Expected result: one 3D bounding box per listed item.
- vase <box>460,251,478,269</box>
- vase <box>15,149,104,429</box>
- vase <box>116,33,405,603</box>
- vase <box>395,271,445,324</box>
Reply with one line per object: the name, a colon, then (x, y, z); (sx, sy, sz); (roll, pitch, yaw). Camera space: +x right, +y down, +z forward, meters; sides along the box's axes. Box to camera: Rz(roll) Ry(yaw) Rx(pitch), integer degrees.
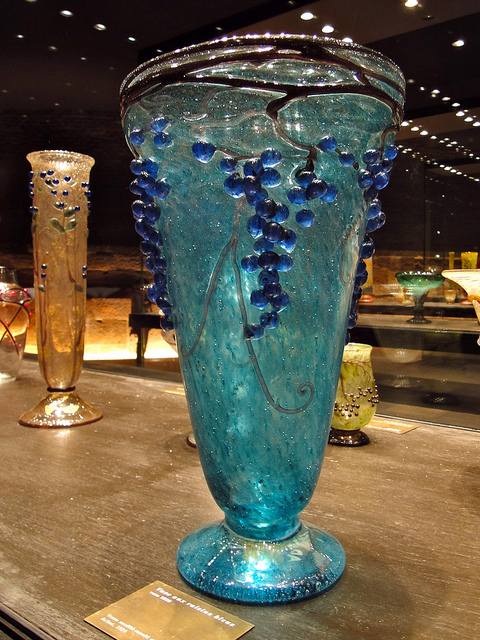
vase: (0.630, -0.167, 1.407); (0.045, 0.047, 0.029); (0, 2, 25)
vase: (-0.277, -0.046, 0.786); (0.129, 0.417, 0.081); (-1, 1, -22)
vase: (0.014, 0.016, 0.293); (0.153, 0.306, 0.134); (-1, 1, -13)
vase: (0.518, -0.065, 1.491); (0.158, 0.154, 0.167); (8, 8, 38)
